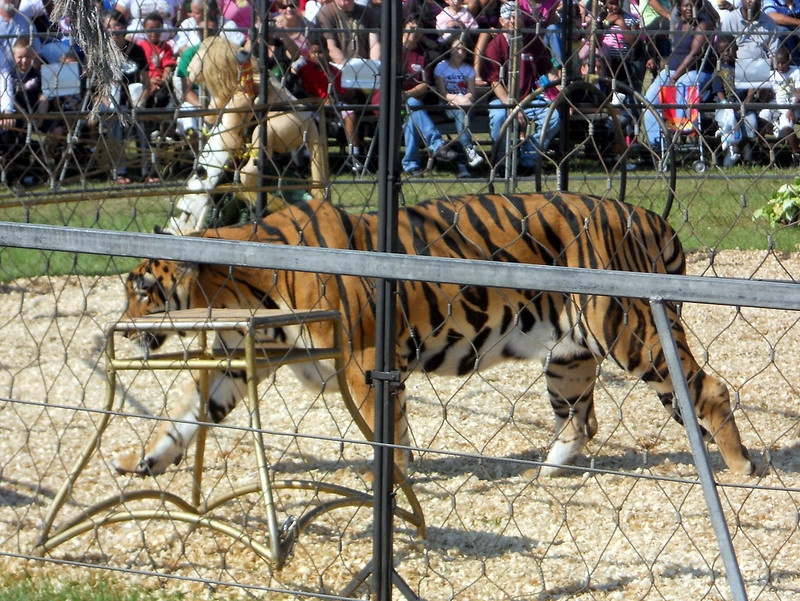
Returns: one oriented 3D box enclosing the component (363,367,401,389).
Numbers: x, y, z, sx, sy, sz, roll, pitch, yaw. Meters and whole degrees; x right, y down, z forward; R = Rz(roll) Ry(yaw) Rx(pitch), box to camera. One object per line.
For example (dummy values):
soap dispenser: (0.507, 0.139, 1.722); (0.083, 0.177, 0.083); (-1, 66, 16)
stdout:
component: (-0.101, 0.430, 9.749); (0.188, 0.130, 0.191); (-1, 15, 3)

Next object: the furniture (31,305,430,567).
furniture: (-1.082, 0.779, 10.094); (1.520, 1.370, 1.666); (0, 3, 19)
